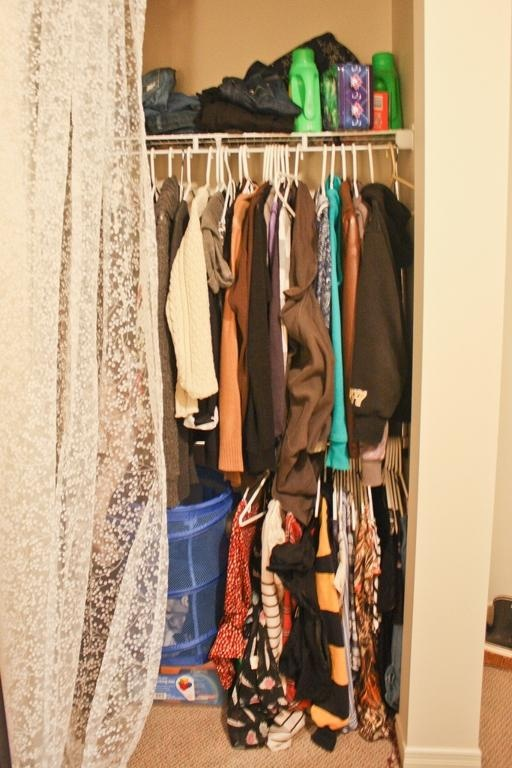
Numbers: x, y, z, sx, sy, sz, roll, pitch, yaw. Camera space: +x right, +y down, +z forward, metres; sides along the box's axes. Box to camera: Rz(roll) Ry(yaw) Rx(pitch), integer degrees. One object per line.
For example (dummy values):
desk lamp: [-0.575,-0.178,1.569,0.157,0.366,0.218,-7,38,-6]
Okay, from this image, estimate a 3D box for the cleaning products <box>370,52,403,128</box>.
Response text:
cleaning products: [0.355,-0.816,1.904,0.118,0.208,0.099,-5,10,-18]

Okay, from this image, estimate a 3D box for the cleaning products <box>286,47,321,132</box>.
cleaning products: [0.136,-0.802,1.866,0.084,0.219,0.082,-2,9,-5]
